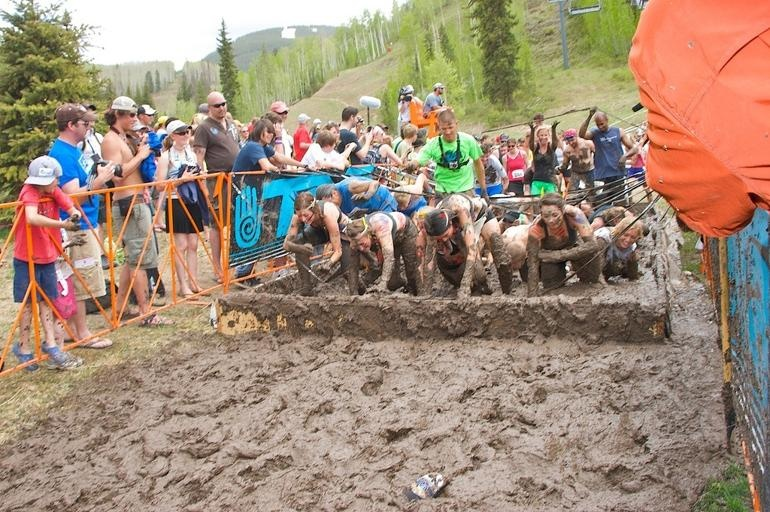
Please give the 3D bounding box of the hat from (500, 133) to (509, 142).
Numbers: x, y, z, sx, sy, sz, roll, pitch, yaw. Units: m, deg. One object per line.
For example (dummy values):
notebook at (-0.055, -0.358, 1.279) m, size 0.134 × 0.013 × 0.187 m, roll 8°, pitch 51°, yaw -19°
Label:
hat at (2.640, -2.605, 15.082) m, size 0.180 × 0.228 × 0.238 m, roll -4°, pitch 5°, yaw -17°

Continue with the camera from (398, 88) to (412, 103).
camera at (0.407, -3.502, 14.825) m, size 0.243 × 0.179 × 0.341 m, roll -8°, pitch 10°, yaw -40°

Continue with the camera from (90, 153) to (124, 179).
camera at (-3.365, -1.069, 8.242) m, size 0.336 × 0.277 × 0.138 m, roll 8°, pitch 17°, yaw 25°

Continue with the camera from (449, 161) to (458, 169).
camera at (0.967, -1.296, 9.761) m, size 0.103 × 0.126 × 0.069 m, roll 1°, pitch 4°, yaw 19°

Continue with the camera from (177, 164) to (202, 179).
camera at (-2.641, -1.141, 9.255) m, size 0.217 × 0.106 × 0.232 m, roll -3°, pitch 4°, yaw 2°
